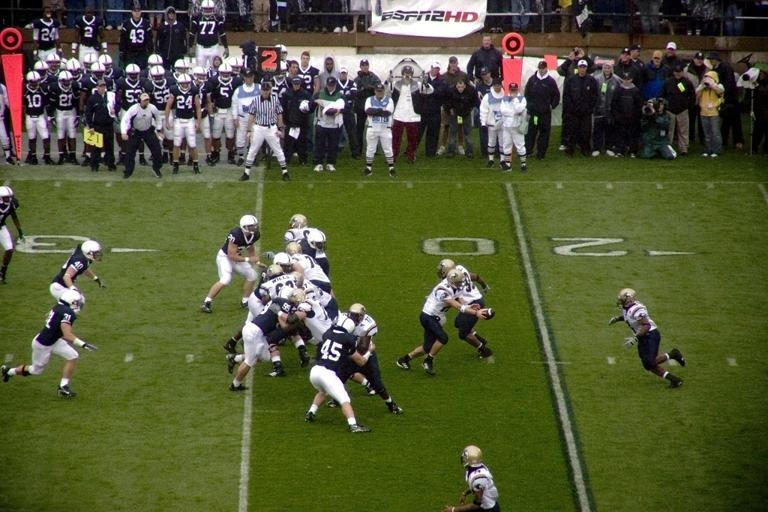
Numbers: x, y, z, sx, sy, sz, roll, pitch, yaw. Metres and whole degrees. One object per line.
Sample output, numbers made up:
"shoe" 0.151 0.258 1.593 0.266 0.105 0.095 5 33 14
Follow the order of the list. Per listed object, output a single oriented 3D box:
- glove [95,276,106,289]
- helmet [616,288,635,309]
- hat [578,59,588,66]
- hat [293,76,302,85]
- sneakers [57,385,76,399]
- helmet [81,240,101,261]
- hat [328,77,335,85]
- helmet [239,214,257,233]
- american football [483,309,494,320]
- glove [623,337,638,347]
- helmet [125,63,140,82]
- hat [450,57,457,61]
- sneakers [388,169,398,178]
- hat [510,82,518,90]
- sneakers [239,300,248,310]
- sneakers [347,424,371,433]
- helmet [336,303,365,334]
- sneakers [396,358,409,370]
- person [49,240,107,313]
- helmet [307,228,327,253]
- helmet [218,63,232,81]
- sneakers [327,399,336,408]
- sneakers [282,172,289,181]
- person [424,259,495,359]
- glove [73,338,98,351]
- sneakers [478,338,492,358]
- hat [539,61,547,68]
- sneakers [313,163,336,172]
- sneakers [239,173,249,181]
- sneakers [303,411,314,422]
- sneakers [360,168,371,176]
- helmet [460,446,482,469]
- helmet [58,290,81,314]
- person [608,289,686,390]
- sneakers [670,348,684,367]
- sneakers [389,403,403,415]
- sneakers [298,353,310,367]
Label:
"glove" -5.517 0.511 23.605 0.129 0.096 0.352 25 -16 26
"helmet" 4.228 0.745 21.220 0.409 0.377 0.315 1 8 9
"hat" 4.803 -4.681 29.340 0.247 0.127 0.397 2 5 7
"hat" -2.052 -4.144 28.553 0.193 0.184 0.191 19 5 7
"sneakers" -5.498 2.316 20.812 0.397 0.211 0.144 8 33 2
"helmet" -5.382 -0.136 22.257 0.378 0.313 0.284 0 40 -1
"hat" -1.219 -4.096 28.355 0.190 0.134 0.303 2 19 -3
"helmet" -2.571 -0.640 22.881 0.376 0.307 0.325 7 15 24
"american football" 1.837 0.983 21.221 0.132 0.158 0.364 -2 16 2
"glove" 4.277 1.495 20.989 0.216 0.133 0.298 5 25 28
"helmet" -5.862 -4.313 28.309 0.321 0.371 0.560 -4 8 -13
"hat" 1.679 -4.777 29.421 0.159 0.091 0.234 -1 10 4
"sneakers" 0.220 -2.011 29.028 0.182 0.238 0.353 -2 8 0
"hat" 3.017 -3.972 28.205 0.167 0.136 0.254 -1 1 5
"sneakers" -2.687 0.936 23.314 0.110 0.130 0.296 1 11 -7
"sneakers" -0.414 2.843 20.061 0.397 0.164 0.132 0 28 -5
"helmet" -0.523 0.988 20.024 0.364 0.291 0.511 18 8 12
"sneakers" 0.344 1.899 21.853 0.158 0.143 0.246 14 24 -24
"person" -5.762 0.437 22.923 0.666 1.183 0.705 16 31 -25
"helmet" -1.233 -0.344 22.432 0.320 0.369 0.421 -17 38 -31
"helmet" -3.749 -4.351 28.683 0.280 0.304 0.372 -4 43 -13
"sneakers" -0.889 2.526 20.835 0.110 0.117 0.246 -2 -19 -10
"sneakers" -2.319 -1.885 28.563 0.196 0.181 0.382 -2 -1 -11
"person" 1.367 1.047 22.106 0.966 1.827 0.660 2 49 15
"glove" -5.076 1.476 20.580 0.348 0.240 0.584 -4 9 -15
"sneakers" 1.831 1.688 22.143 0.288 0.280 0.146 -26 36 43
"hat" 3.828 -4.614 29.287 0.193 0.215 0.527 -1 8 5
"sneakers" -1.432 -2.128 29.268 0.599 0.194 0.248 -3 -3 -30
"sneakers" -3.291 -1.874 28.552 0.231 0.140 0.118 -1 43 -3
"sneakers" -1.245 2.685 20.345 0.138 0.191 0.089 13 20 11
"sneakers" -0.386 -2.038 29.052 0.232 0.222 0.378 -2 8 1
"helmet" 1.310 2.982 18.246 0.294 0.307 0.362 -12 20 -39
"helmet" -5.282 0.684 20.611 0.404 0.385 0.333 -11 43 -14
"person" 4.751 1.582 21.998 1.187 1.822 0.845 -15 21 19
"sneakers" 5.195 1.796 21.535 0.124 0.343 0.164 -33 16 35
"sneakers" 0.186 2.579 20.536 0.125 0.130 0.284 -40 39 -18
"sneakers" -1.392 1.848 21.686 0.173 0.213 0.199 -12 16 5
